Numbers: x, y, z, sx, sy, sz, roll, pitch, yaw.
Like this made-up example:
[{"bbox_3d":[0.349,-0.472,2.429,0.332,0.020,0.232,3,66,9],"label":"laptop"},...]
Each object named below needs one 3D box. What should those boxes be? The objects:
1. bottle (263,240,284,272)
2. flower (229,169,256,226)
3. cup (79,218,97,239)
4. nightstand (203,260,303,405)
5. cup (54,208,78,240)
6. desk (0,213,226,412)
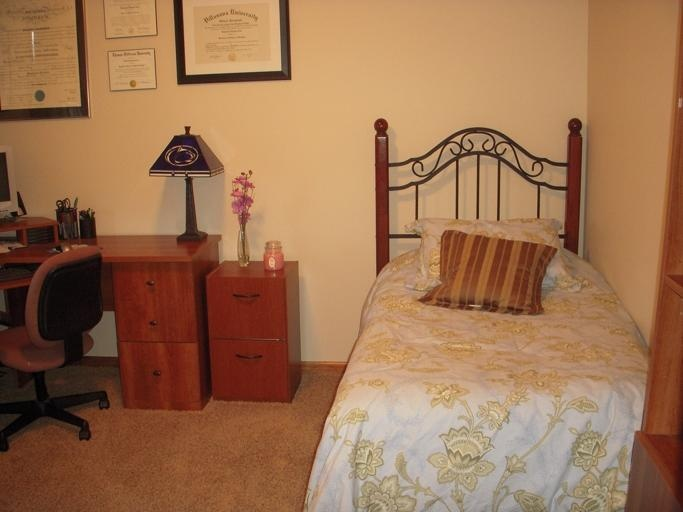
[{"bbox_3d":[-0.409,0.004,3.504,0.113,0.171,0.160,1,1,2],"label":"bottle"},{"bbox_3d":[-0.614,-0.364,3.680,0.156,0.329,0.367,-4,12,-10],"label":"flower"},{"bbox_3d":[-1.627,-0.171,3.826,0.106,0.131,0.110,2,12,0],"label":"cup"},{"bbox_3d":[-0.560,0.497,3.625,0.454,0.744,0.421,-1,3,-4],"label":"nightstand"},{"bbox_3d":[-1.735,-0.196,3.693,0.125,0.205,0.137,5,15,-1],"label":"cup"},{"bbox_3d":[-1.358,0.418,3.600,1.048,0.962,0.885,4,13,15],"label":"desk"}]
